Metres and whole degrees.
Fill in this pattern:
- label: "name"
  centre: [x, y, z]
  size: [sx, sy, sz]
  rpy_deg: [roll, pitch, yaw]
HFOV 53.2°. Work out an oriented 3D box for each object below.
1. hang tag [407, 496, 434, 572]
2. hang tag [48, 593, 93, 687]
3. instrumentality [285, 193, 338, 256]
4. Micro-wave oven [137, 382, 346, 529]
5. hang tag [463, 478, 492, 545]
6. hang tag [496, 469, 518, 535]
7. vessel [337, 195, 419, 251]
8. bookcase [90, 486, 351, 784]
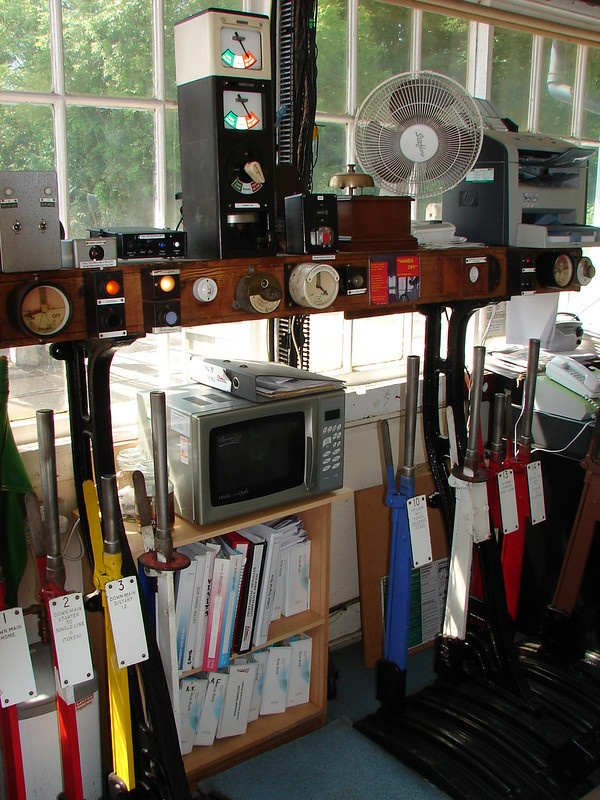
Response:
- label: "hang tag"
  centre: [0.357, 0.385, 1.778]
  size: [0.065, 0.258, 0.187]
  rpy_deg: [0, 10, 12]
- label: "hang tag"
  centre: [-0.422, 0.452, 1.100]
  size: [0.060, 0.206, 0.065]
  rpy_deg: [-7, 11, -26]
- label: "instrumentality"
  centre: [0.019, -0.364, 1.256]
  size: [0.117, 0.118, 0.125]
  rpy_deg: [-1, 10, 6]
- label: "Micro-wave oven"
  centre: [-0.131, 0.021, 1.559]
  size: [0.483, 0.335, 0.370]
  rpy_deg: [-13, 23, -38]
- label: "hang tag"
  centre: [0.555, 0.329, 1.825]
  size: [0.043, 0.198, 0.127]
  rpy_deg: [4, 12, 33]
- label: "hang tag"
  centre: [0.660, 0.313, 1.873]
  size: [0.038, 0.219, 0.148]
  rpy_deg: [5, 12, 35]
- label: "vessel"
  centre: [0.180, -0.411, 1.403]
  size: [0.161, 0.103, 0.161]
  rpy_deg: [-8, 15, -29]
- label: "bookcase"
  centre: [-0.219, 0.629, 1.587]
  size: [0.716, 0.809, 0.357]
  rpy_deg: [-19, 28, -39]
